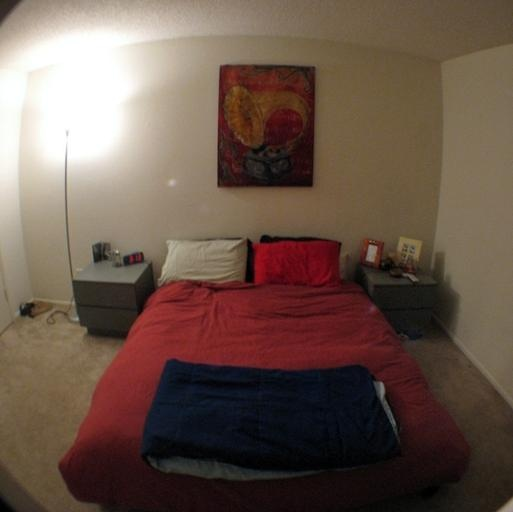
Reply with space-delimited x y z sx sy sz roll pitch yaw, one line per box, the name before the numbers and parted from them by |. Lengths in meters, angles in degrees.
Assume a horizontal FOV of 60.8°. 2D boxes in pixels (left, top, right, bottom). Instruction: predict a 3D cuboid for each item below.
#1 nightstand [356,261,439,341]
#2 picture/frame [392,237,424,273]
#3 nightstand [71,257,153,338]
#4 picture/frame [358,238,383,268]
nightstand | 0.858 0.231 2.735 0.370 0.402 0.390 -4 12 -15
picture/frame | 0.961 -0.007 2.792 0.021 0.228 0.150 3 14 -41
nightstand | -0.872 0.256 2.613 0.431 0.476 0.390 3 -16 -24
picture/frame | 0.753 -0.018 2.861 0.138 0.204 0.026 15 11 41
